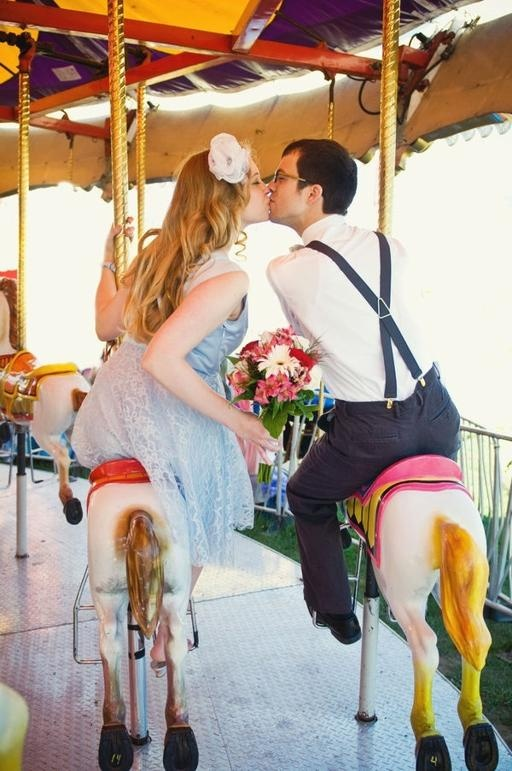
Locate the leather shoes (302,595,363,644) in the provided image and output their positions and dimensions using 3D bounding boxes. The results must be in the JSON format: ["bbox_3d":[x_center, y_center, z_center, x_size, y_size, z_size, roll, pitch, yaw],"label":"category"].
[{"bbox_3d":[0.250,0.795,2.128,0.080,0.099,0.223,4,3,-34],"label":"leather shoes"}]

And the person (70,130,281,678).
[{"bbox_3d":[-0.236,0.158,1.863,0.606,1.730,0.741,0,3,-17],"label":"person"}]

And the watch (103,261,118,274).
[{"bbox_3d":[-0.546,-0.441,2.338,0.040,0.052,0.047,-1,12,-2],"label":"watch"}]

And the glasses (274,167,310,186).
[{"bbox_3d":[0.112,-0.664,2.034,0.091,0.027,0.068,8,11,-10],"label":"glasses"}]

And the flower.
[{"bbox_3d":[0.037,-0.007,1.599,0.246,0.279,0.166,1,3,5],"label":"flower"}]
